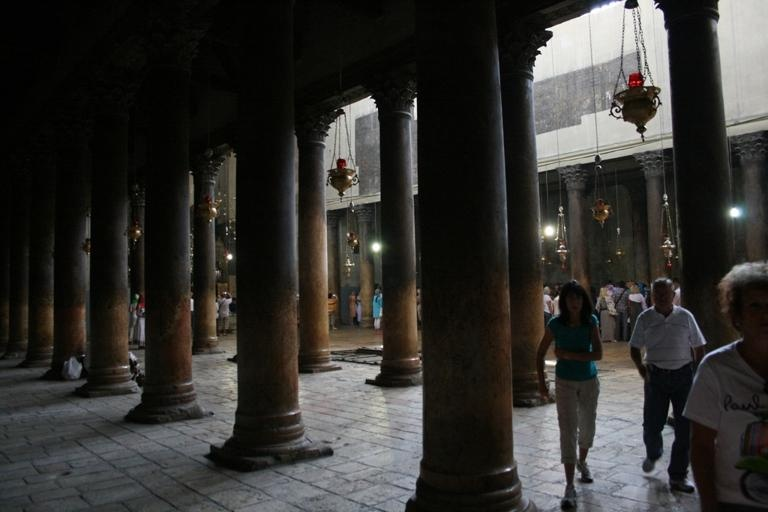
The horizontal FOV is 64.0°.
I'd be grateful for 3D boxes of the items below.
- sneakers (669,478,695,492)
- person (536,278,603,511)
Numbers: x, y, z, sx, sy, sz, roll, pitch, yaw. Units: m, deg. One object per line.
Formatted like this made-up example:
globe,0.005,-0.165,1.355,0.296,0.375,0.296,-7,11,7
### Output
sneakers,3.560,2.741,7.326,0.247,0.106,0.136,-1,-5,8
person,2.289,1.604,7.465,0.718,2.561,0.882,-5,-4,30
